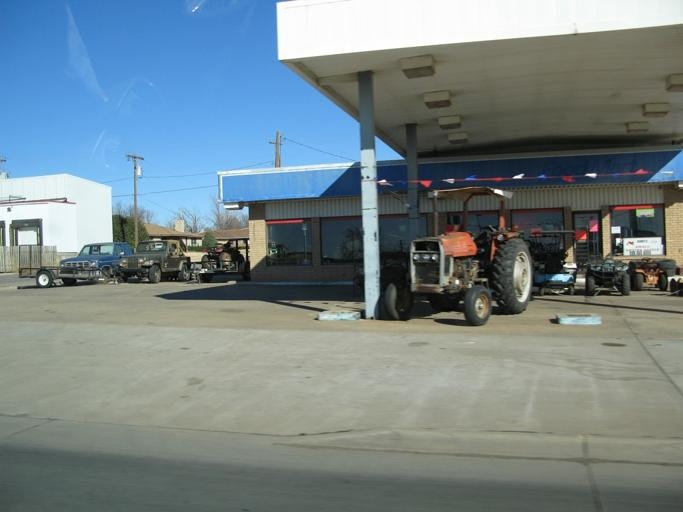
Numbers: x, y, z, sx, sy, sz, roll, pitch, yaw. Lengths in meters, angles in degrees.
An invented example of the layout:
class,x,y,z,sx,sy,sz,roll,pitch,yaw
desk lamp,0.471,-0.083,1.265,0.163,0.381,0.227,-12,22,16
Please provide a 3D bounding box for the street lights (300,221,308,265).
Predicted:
class,x,y,z,sx,sy,sz,roll,pitch,yaw
street lights,-1.277,-0.431,21.992,0.218,1.370,0.172,0,9,7

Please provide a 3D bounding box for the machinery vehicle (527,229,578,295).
class,x,y,z,sx,sy,sz,roll,pitch,yaw
machinery vehicle,5.203,0.128,15.835,1.126,1.713,1.882,2,9,16

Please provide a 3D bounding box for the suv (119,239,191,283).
class,x,y,z,sx,sy,sz,roll,pitch,yaw
suv,-7.506,0.240,26.245,1.756,1.305,2.891,-2,-3,24

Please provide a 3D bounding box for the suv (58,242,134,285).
class,x,y,z,sx,sy,sz,roll,pitch,yaw
suv,-9.785,0.242,25.163,1.632,1.159,2.692,-2,-2,10

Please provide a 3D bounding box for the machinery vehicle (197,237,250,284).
class,x,y,z,sx,sy,sz,roll,pitch,yaw
machinery vehicle,-4.848,-0.060,26.178,1.237,0.918,2.075,-4,-2,17

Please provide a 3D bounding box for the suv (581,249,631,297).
class,x,y,z,sx,sy,sz,roll,pitch,yaw
suv,6.709,0.395,16.144,1.056,0.906,1.987,1,6,19

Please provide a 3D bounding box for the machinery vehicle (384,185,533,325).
class,x,y,z,sx,sy,sz,roll,pitch,yaw
machinery vehicle,2.264,-0.085,12.220,2.093,2.261,3.235,4,5,38
